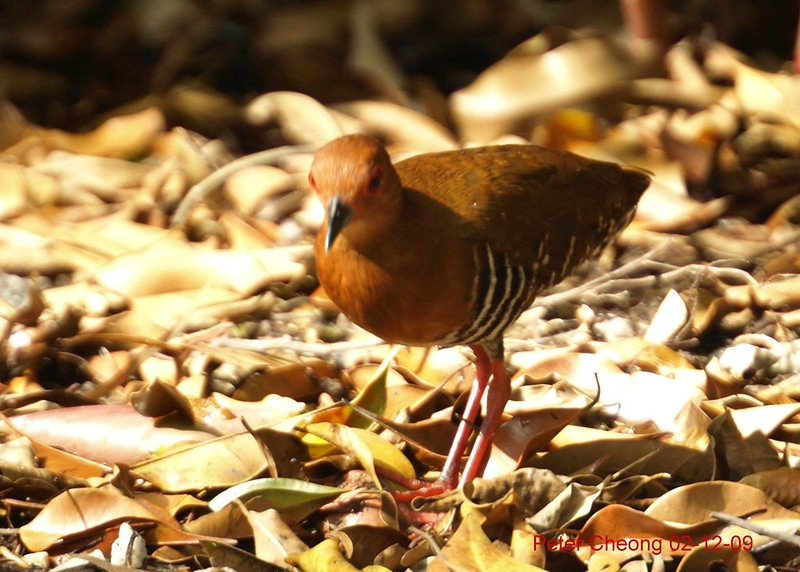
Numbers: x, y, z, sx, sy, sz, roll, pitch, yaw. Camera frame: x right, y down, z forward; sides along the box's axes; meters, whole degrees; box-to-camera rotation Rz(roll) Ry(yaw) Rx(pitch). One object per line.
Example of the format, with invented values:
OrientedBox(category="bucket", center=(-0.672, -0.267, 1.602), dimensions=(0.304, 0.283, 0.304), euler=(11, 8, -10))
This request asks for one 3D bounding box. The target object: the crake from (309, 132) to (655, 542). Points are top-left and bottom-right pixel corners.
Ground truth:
OrientedBox(category="crake", center=(0.360, 0.000, 4.026), dimensions=(0.971, 1.660, 2.227), euler=(6, 22, 36))
